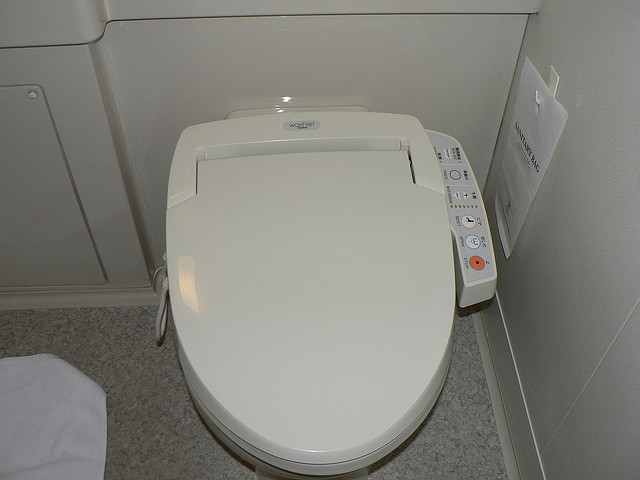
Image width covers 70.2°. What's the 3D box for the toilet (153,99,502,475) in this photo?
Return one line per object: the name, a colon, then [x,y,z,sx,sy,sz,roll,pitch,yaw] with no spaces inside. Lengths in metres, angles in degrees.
toilet: [0.008,0.105,1.005,0.529,0.602,0.671,-2,69,-2]
